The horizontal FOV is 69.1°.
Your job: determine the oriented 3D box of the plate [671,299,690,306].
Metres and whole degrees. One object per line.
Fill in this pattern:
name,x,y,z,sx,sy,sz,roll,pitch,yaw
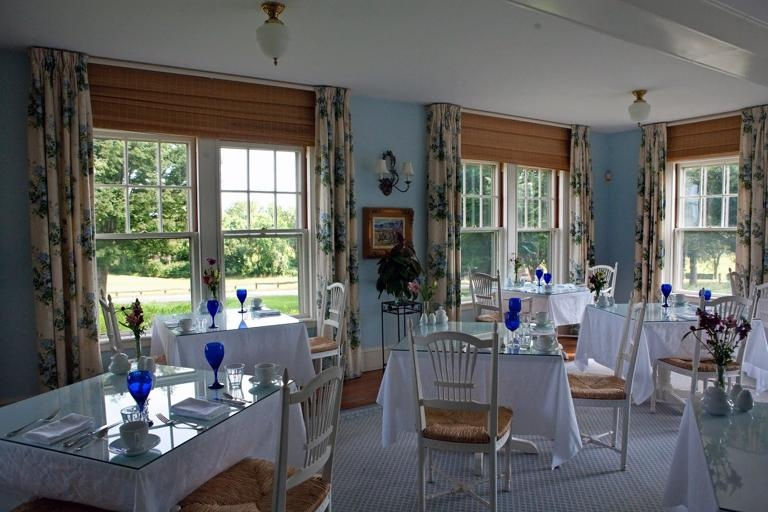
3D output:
plate,2.958,0.474,5.632,0.098,0.045,0.096,2,-2,-37

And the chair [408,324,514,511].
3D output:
chair,0.588,1.080,4.157,0.751,1.422,0.868,2,13,13

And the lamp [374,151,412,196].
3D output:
lamp,0.141,-0.977,6.550,0.524,0.534,0.381,-4,13,-12

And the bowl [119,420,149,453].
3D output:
bowl,-1.389,0.996,3.093,0.131,0.121,0.165,-1,13,-17

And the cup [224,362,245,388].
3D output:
cup,-0.993,0.804,3.776,0.139,0.152,0.143,-1,-4,0

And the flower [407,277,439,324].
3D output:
flower,0.396,0.391,5.275,0.371,0.536,0.423,-2,1,5

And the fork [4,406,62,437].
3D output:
fork,-2.051,0.982,3.349,0.064,0.063,0.403,18,11,22

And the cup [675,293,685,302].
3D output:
cup,3.048,0.426,5.749,0.099,0.099,0.102,0,2,0

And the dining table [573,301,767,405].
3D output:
dining table,2.494,0.775,5.449,1.205,0.692,1.243,0,-3,-14

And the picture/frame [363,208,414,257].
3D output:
picture/frame,0.022,-0.273,6.515,0.580,0.535,0.060,-1,0,-36

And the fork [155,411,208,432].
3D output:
fork,-1.196,0.989,3.320,0.426,0.068,0.075,-1,13,20

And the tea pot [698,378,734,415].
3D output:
tea pot,2.148,0.909,3.619,0.185,0.185,0.189,1,-2,0

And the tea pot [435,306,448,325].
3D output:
tea pot,0.518,0.539,4.987,0.131,0.183,0.132,-1,-4,0

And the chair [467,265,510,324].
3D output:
chair,1.200,0.481,6.697,0.536,0.851,0.494,-4,5,-44

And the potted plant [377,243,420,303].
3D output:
potted plant,0.164,0.180,6.221,0.578,0.613,0.553,1,6,35

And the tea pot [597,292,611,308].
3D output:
tea pot,2.227,0.445,5.670,0.132,0.132,0.133,-3,5,0

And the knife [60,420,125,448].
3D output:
knife,-1.686,1.002,3.214,0.078,0.034,0.301,7,12,29

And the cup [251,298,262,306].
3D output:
cup,-1.289,0.463,5.642,0.073,0.077,0.096,-3,-10,14

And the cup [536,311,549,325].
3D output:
cup,1.356,0.536,4.783,0.105,0.088,0.088,-2,-1,33
